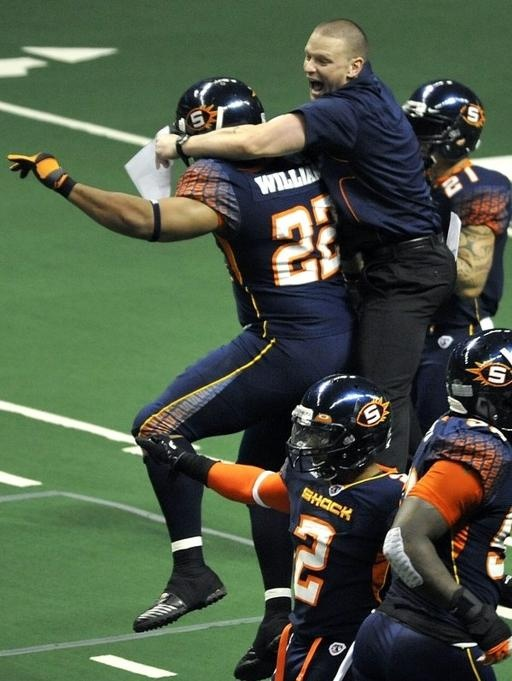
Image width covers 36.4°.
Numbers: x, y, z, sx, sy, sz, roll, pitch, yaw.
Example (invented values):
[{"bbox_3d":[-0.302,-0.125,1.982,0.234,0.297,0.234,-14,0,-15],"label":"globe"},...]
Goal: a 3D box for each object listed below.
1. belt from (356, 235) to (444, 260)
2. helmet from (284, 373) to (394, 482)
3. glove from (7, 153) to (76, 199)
[{"bbox_3d":[0.760,-0.487,4.061,0.294,0.060,0.188,-7,2,-2],"label":"belt"},{"bbox_3d":[0.290,0.291,2.714,0.471,0.313,0.319,-5,8,-23],"label":"helmet"},{"bbox_3d":[-0.976,-0.749,3.537,0.261,0.187,0.500,-7,16,-15],"label":"glove"}]
